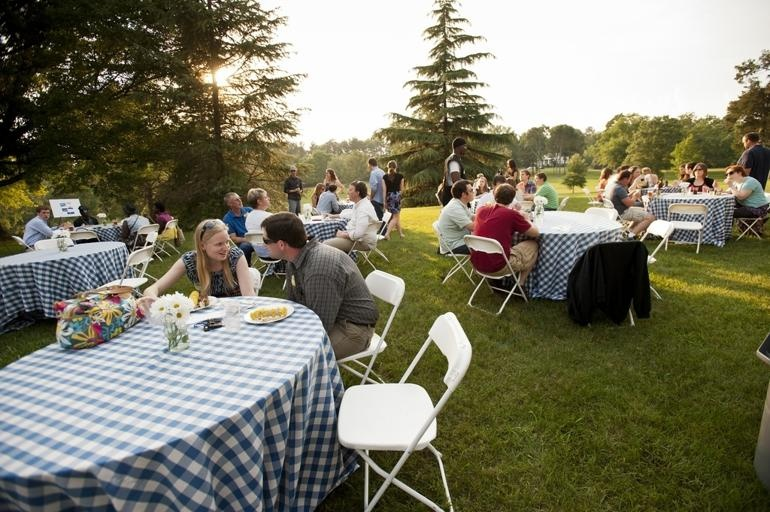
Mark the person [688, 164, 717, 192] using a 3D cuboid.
[{"bbox_3d":[9.012,-2.244,14.932,0.604,0.822,1.837,6,11,30],"label":"person"}]

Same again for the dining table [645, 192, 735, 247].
[{"bbox_3d":[8.061,-0.979,13.357,1.496,1.043,1.522,13,28,40],"label":"dining table"}]

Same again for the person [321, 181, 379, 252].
[{"bbox_3d":[-0.717,-0.622,11.707,1.217,1.989,1.066,0,10,-5],"label":"person"}]

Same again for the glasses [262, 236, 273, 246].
[{"bbox_3d":[-1.892,-0.255,8.509,0.226,0.077,0.234,4,7,-12],"label":"glasses"}]

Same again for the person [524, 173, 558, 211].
[{"bbox_3d":[4.351,-1.827,14.371,0.646,0.952,0.732,-5,11,29],"label":"person"}]

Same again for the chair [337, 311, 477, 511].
[{"bbox_3d":[0.203,1.845,8.946,2.628,3.750,2.426,1,23,-5],"label":"chair"}]

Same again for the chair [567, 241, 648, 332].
[{"bbox_3d":[4.260,0.464,9.918,1.438,1.547,0.740,-3,12,1],"label":"chair"}]

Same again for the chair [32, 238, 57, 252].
[{"bbox_3d":[-7.487,-0.234,11.599,0.310,0.447,0.313,-2,8,-28],"label":"chair"}]

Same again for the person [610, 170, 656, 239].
[{"bbox_3d":[6.252,-1.205,12.873,0.771,1.934,1.080,8,-12,-38],"label":"person"}]

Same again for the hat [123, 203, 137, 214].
[{"bbox_3d":[-6.589,-1.228,13.574,0.262,0.310,0.306,1,8,-11],"label":"hat"}]

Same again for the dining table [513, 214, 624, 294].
[{"bbox_3d":[3.805,0.002,10.976,1.419,1.243,1.853,8,28,17],"label":"dining table"}]

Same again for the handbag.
[{"bbox_3d":[-4.430,0.915,8.299,0.750,0.877,1.398,2,14,26],"label":"handbag"}]

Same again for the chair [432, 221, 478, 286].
[{"bbox_3d":[1.596,-0.145,11.881,1.242,1.755,1.008,0,14,7],"label":"chair"}]

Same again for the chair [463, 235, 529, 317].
[{"bbox_3d":[2.239,0.401,10.358,0.905,1.669,1.158,12,32,42],"label":"chair"}]

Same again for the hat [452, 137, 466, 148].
[{"bbox_3d":[1.773,-2.726,12.557,0.242,0.245,0.721,2,10,10],"label":"hat"}]

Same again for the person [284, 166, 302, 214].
[{"bbox_3d":[-3.034,-2.211,17.438,0.576,1.564,2.245,-2,10,-10],"label":"person"}]

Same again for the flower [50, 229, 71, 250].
[{"bbox_3d":[-7.007,-0.341,11.363,0.357,0.451,0.344,20,25,38],"label":"flower"}]

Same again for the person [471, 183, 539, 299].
[{"bbox_3d":[2.339,-0.362,10.254,1.254,2.068,0.673,3,10,16],"label":"person"}]

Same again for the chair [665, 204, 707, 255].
[{"bbox_3d":[7.232,-0.638,12.592,0.814,1.298,0.917,11,25,38],"label":"chair"}]

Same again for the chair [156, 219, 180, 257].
[{"bbox_3d":[-6.097,-0.540,14.649,0.535,0.871,0.507,-9,9,11],"label":"chair"}]
